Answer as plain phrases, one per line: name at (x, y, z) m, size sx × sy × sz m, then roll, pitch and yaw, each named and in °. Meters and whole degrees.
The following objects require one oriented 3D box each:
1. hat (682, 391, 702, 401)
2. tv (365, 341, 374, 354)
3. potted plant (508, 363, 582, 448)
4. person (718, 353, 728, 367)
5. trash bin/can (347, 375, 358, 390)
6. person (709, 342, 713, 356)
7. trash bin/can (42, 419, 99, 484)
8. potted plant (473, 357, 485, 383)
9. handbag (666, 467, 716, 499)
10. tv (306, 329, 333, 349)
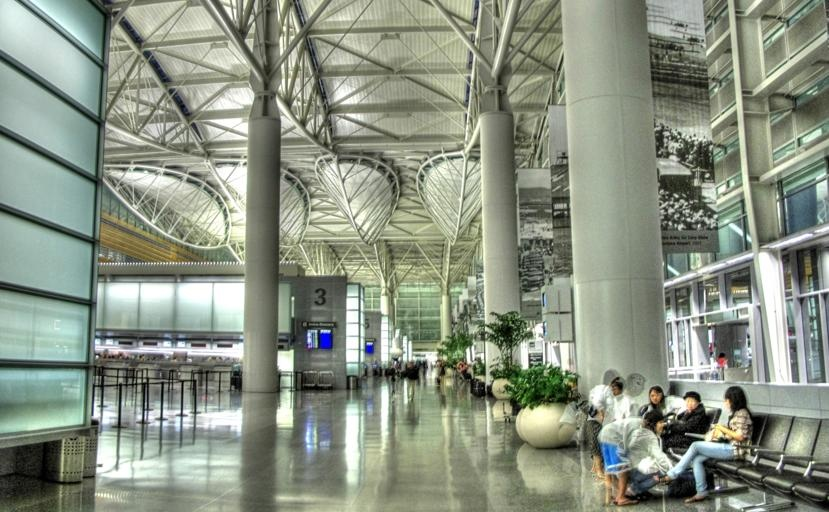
hat at (5.841, 2.949, 14.521) m, size 0.432 × 0.157 × 0.487 m, roll 0°, pitch -22°, yaw 16°
tv at (-4.379, 8.917, 66.996) m, size 0.934 × 1.434 × 0.969 m, roll -1°, pitch 0°, yaw 9°
potted plant at (3.494, 3.766, 17.105) m, size 1.773 × 2.125 × 2.032 m, roll 2°, pitch -7°, yaw -31°
person at (12.327, 4.171, 27.682) m, size 0.313 × 0.591 × 0.813 m, roll -2°, pitch -6°, yaw 26°
trash bin/can at (-3.275, 6.755, 36.861) m, size 0.609 × 0.669 × 0.612 m, roll 2°, pitch -4°, yaw -22°
person at (12.409, 3.899, 28.927) m, size 0.224 × 0.538 × 1.074 m, roll -2°, pitch -6°, yaw 23°
trash bin/can at (-7.145, 4.102, 14.318) m, size 0.985 × 1.116 × 0.584 m, roll 3°, pitch -6°, yaw -23°
potted plant at (3.162, 5.613, 33.989) m, size 0.577 × 1.360 × 0.592 m, roll -5°, pitch -10°, yaw 2°
handbag at (5.270, 4.436, 13.234) m, size 0.641 × 0.326 × 0.848 m, roll 4°, pitch -13°, yaw -23°
tv at (-5.044, 4.402, 36.469) m, size 0.989 × 0.768 × 0.134 m, roll 0°, pitch -19°, yaw -1°
